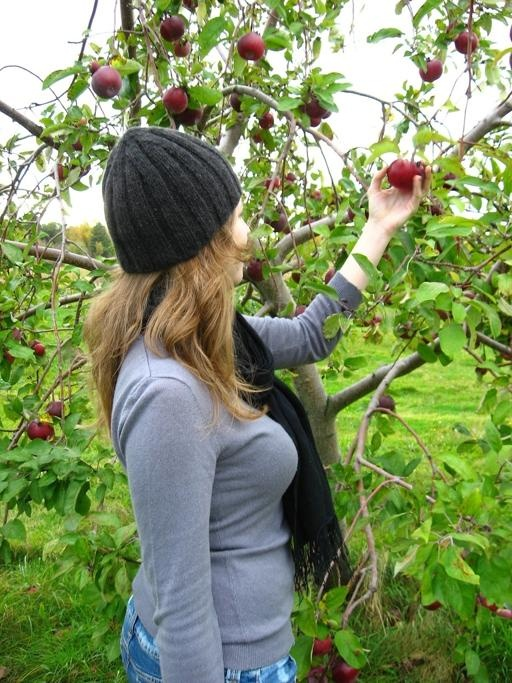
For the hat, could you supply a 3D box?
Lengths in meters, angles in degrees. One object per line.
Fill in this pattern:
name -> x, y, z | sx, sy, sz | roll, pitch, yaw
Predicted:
hat -> -0.166, -0.259, 1.109 | 0.251, 0.270, 0.233 | 8, -12, 37
